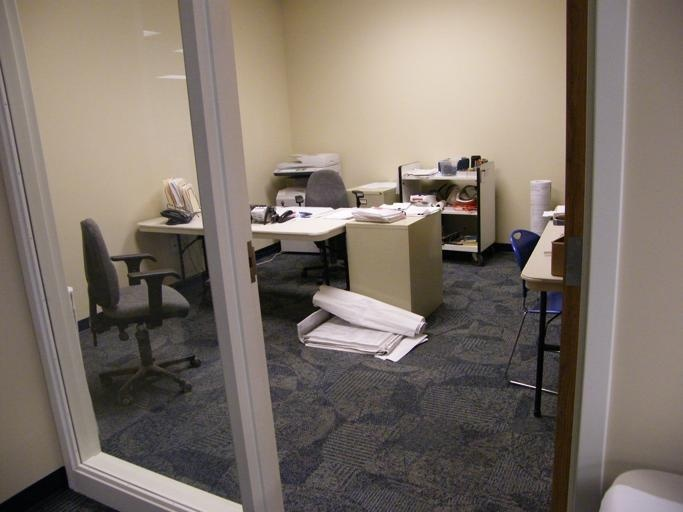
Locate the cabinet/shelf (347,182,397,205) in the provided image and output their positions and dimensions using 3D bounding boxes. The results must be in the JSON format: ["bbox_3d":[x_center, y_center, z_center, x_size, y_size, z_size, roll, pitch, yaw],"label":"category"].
[{"bbox_3d":[0.352,-0.652,5.441,0.344,0.219,0.334,2,10,20],"label":"cabinet/shelf"}]

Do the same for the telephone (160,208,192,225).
[{"bbox_3d":[-0.618,-0.151,1.960,0.105,0.040,0.082,5,11,29],"label":"telephone"}]

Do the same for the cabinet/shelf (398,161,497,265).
[{"bbox_3d":[0.993,-0.395,4.780,0.913,1.009,0.571,4,12,25],"label":"cabinet/shelf"}]

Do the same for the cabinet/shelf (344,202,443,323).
[{"bbox_3d":[0.370,0.019,3.907,0.710,0.697,0.531,4,9,9],"label":"cabinet/shelf"}]
